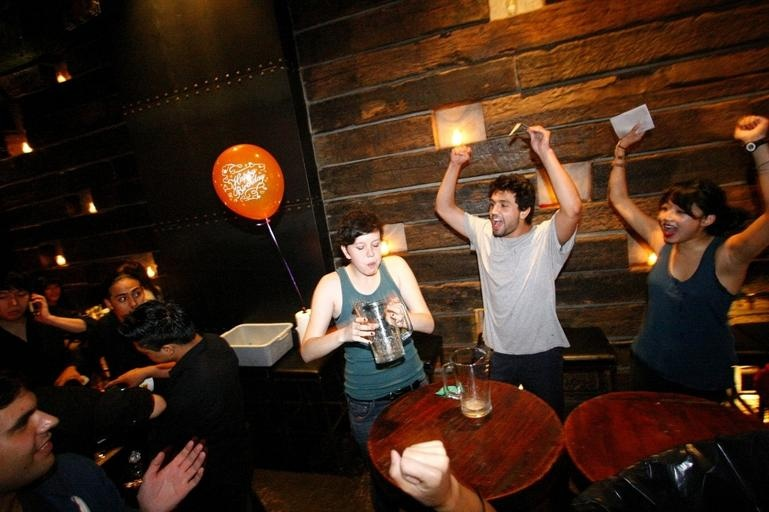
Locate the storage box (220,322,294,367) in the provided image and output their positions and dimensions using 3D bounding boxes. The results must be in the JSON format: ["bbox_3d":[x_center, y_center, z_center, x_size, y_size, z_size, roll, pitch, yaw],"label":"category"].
[{"bbox_3d":[-1.191,0.824,4.646,0.558,0.165,0.396,2,28,14],"label":"storage box"}]

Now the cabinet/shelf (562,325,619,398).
[{"bbox_3d":[1.732,0.860,4.392,0.539,0.311,0.694,-4,17,18],"label":"cabinet/shelf"}]
